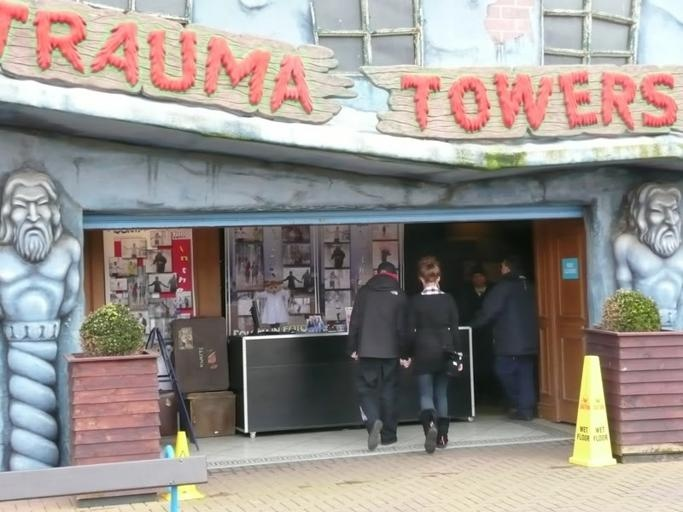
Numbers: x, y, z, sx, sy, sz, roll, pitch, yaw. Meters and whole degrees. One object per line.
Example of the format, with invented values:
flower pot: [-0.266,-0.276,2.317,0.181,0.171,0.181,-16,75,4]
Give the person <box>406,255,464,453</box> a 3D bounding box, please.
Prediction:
person: [1.111,1.155,9.117,0.621,2.365,0.809,-1,0,8]

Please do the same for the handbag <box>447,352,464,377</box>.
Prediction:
handbag: [1.369,1.282,9.108,0.239,0.296,0.121,-1,0,-30]

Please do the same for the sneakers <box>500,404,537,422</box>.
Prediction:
sneakers: [2.489,2.243,10.800,0.177,0.209,0.472,0,3,-33]

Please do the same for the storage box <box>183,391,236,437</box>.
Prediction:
storage box: [-1.773,2.122,10.328,0.585,0.590,0.575,3,-5,-30]

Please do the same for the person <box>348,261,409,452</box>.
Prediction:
person: [0.477,1.203,9.191,0.693,2.291,0.708,-1,0,-14]

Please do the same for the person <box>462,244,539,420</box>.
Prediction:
person: [2.334,1.150,10.638,0.777,2.320,0.354,-1,0,15]

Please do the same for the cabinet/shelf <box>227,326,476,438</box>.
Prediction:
cabinet/shelf: [0.204,1.775,10.865,3.347,1.313,0.974,0,-8,-19]

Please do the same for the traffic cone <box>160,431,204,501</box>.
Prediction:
traffic cone: [-1.551,2.027,7.340,0.498,0.583,0.513,17,-35,-22]

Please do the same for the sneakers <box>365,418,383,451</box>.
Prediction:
sneakers: [0.401,2.089,8.876,0.153,0.390,0.148,8,7,-22]

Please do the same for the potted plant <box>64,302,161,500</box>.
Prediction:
potted plant: [-2.225,1.378,7.555,0.936,1.669,0.881,-1,-4,-3]

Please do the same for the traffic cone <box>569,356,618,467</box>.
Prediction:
traffic cone: [2.656,1.664,8.129,0.461,1.212,0.263,-1,0,13]

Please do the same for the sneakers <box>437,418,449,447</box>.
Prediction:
sneakers: [1.219,2.118,9.068,0.160,0.356,0.099,-1,0,-40]
